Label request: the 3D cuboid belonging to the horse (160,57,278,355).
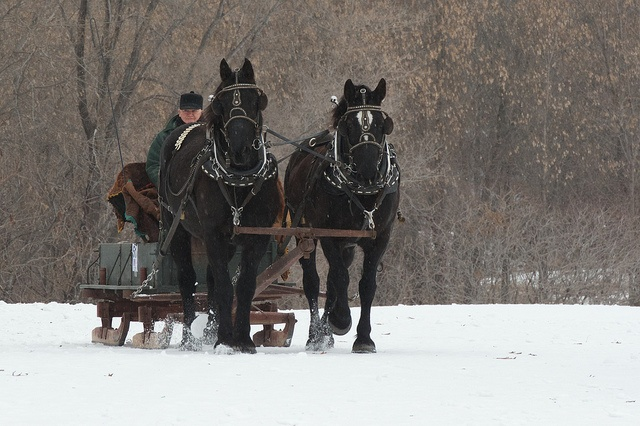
[{"bbox_3d":[-2.159,-0.056,26.842,1.365,6.083,2.690,7,-9,-39],"label":"horse"}]
